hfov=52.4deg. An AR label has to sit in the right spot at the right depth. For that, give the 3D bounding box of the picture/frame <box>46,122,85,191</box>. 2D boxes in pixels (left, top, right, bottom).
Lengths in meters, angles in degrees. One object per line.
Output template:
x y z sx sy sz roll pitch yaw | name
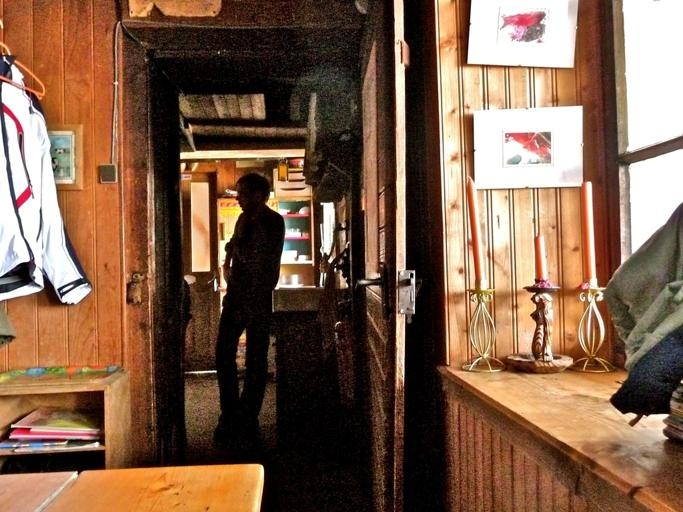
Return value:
-1.274 -0.450 3.157 0.226 0.278 0.032 5 8 19 | picture/frame

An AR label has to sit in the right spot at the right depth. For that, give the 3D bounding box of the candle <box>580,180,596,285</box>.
0.935 -0.087 2.625 0.049 0.389 0.237 -3 -2 20 | candle

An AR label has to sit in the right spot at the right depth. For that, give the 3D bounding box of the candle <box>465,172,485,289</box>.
0.518 -0.097 2.676 0.061 0.445 0.194 -2 -2 12 | candle

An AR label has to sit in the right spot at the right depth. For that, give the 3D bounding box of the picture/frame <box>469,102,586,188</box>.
0.750 -0.434 2.755 0.380 0.268 0.014 0 -5 1 | picture/frame

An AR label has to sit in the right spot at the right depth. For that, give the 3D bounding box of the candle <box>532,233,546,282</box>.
0.758 0.004 2.644 0.049 0.189 0.213 -2 -1 16 | candle
